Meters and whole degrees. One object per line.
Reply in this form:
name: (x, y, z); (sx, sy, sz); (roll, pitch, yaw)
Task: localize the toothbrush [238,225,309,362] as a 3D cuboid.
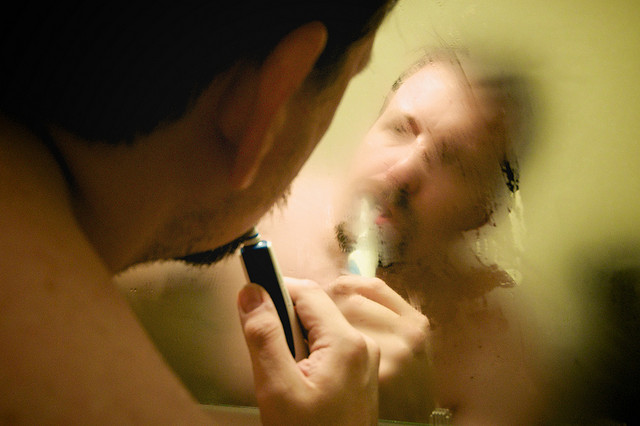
toothbrush: (-0.090, 0.138, 1.419); (0.066, 0.385, 0.052); (-18, 0, -2)
